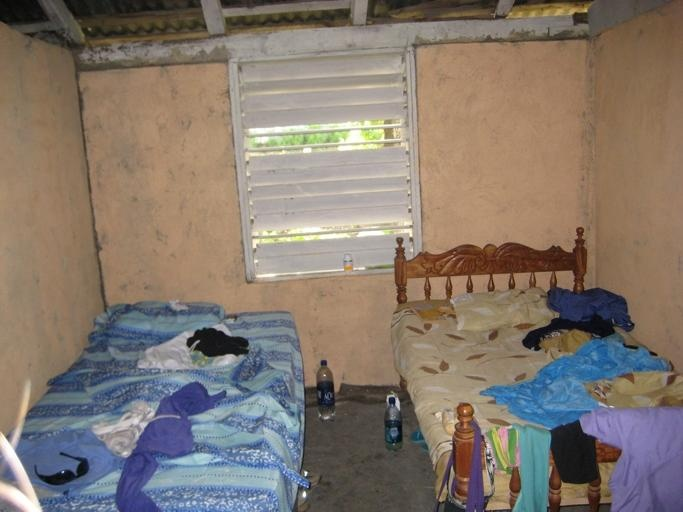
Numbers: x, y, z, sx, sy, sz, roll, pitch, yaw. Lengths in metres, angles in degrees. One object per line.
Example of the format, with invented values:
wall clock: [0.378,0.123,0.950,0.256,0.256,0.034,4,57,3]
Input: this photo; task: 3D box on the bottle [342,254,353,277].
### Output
bottle: [0.045,0.046,4.767,0.109,0.181,0.107,0,10,0]

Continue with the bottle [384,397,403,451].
bottle: [0.334,1.030,4.142,0.125,0.368,0.313,1,7,4]

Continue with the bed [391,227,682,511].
bed: [1.179,0.520,3.979,1.447,1.311,1.953,-1,7,-6]

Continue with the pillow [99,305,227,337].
pillow: [-1.226,0.419,4.334,0.549,0.077,0.335,1,23,-4]

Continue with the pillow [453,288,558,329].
pillow: [1.105,0.363,4.408,0.493,0.100,0.302,-6,39,7]

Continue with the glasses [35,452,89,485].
glasses: [-1.341,1.018,3.088,0.243,0.100,0.165,-3,7,-24]
